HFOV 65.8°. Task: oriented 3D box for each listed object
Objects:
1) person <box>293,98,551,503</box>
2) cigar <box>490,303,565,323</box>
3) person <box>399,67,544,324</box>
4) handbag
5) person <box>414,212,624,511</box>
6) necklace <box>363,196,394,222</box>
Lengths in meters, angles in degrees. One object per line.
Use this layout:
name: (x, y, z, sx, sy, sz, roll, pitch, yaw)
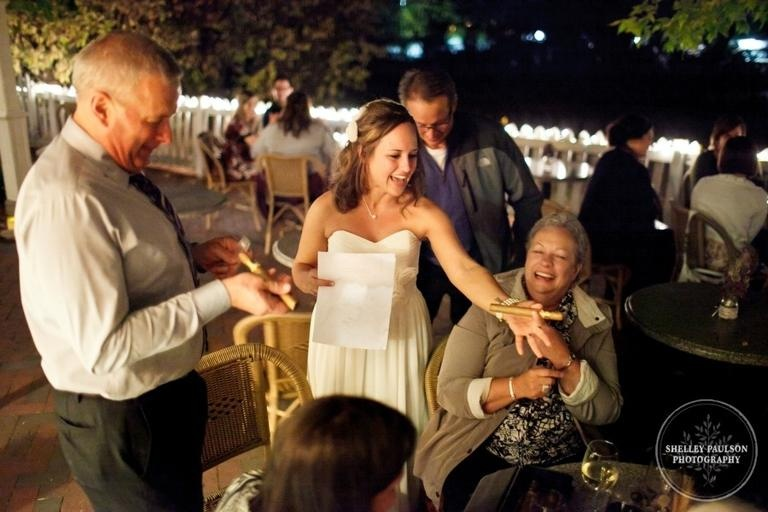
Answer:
person: (0.123, 0.006, 3.400, 1.047, 2.626, 1.092, -3, 13, -22)
cigar: (0.692, 0.282, 2.903, 0.399, 0.080, 0.088, 4, 32, -23)
person: (0.527, -0.511, 4.409, 0.875, 1.971, 0.875, 6, -5, -17)
handbag: (2.787, -0.057, 5.111, 0.433, 0.615, 0.450, -8, 22, -8)
person: (0.733, 0.565, 3.229, 1.103, 1.537, 0.587, -4, 11, -23)
necklace: (-0.071, -0.267, 3.459, 0.055, 0.165, 0.039, -18, 8, 18)
